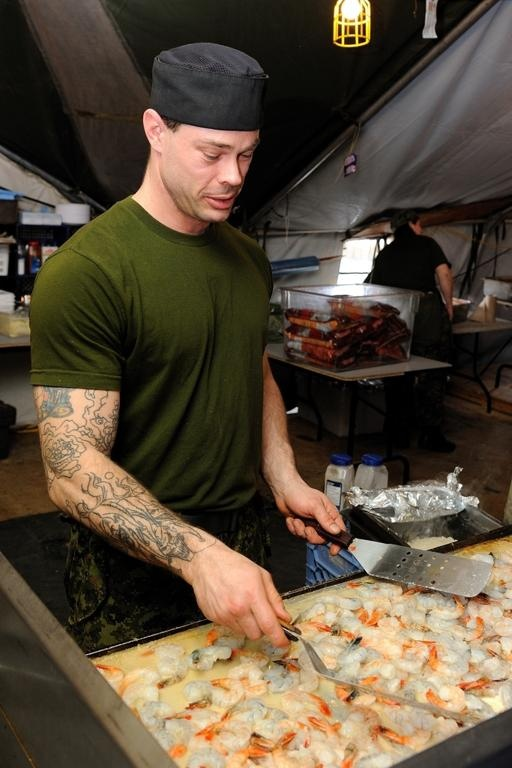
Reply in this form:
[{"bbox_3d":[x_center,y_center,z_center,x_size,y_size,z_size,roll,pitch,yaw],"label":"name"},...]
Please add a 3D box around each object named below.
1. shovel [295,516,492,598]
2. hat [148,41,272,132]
[{"bbox_3d":[0.248,0.288,1.117,0.344,0.124,0.105,-3,29,43],"label":"shovel"},{"bbox_3d":[-0.099,-0.531,1.054,0.202,0.116,0.208,-28,52,-35],"label":"hat"}]
